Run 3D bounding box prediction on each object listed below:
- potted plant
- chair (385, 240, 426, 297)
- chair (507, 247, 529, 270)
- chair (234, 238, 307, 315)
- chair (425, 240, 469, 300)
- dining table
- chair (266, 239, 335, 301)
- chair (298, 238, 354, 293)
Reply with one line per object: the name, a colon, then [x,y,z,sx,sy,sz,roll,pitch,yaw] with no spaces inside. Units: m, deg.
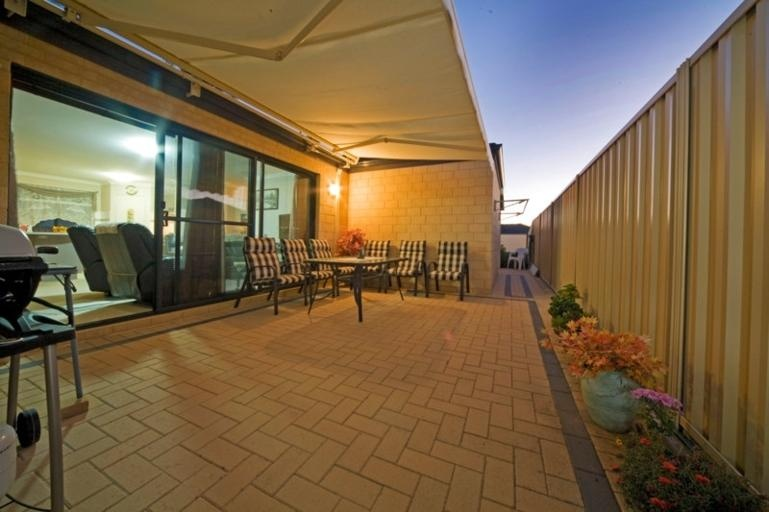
potted plant: [2.052,1.171,3.903,0.987,0.852,0.866,2,-11,8]
chair: [0.465,0.207,8.343,0.708,0.991,0.754,2,3,21]
chair: [5.049,0.183,15.614,0.672,1.027,0.782,-3,-16,38]
chair: [-1.712,0.236,6.448,0.991,1.009,0.943,-2,4,-41]
chair: [1.233,0.251,7.953,0.737,0.950,0.827,2,7,17]
dining table: [-0.513,0.631,6.389,0.959,0.768,1.725,0,0,19]
chair: [-1.334,0.214,7.120,1.273,0.817,0.555,-5,23,-43]
chair: [-0.974,0.180,7.585,0.842,0.865,0.791,3,5,-8]
